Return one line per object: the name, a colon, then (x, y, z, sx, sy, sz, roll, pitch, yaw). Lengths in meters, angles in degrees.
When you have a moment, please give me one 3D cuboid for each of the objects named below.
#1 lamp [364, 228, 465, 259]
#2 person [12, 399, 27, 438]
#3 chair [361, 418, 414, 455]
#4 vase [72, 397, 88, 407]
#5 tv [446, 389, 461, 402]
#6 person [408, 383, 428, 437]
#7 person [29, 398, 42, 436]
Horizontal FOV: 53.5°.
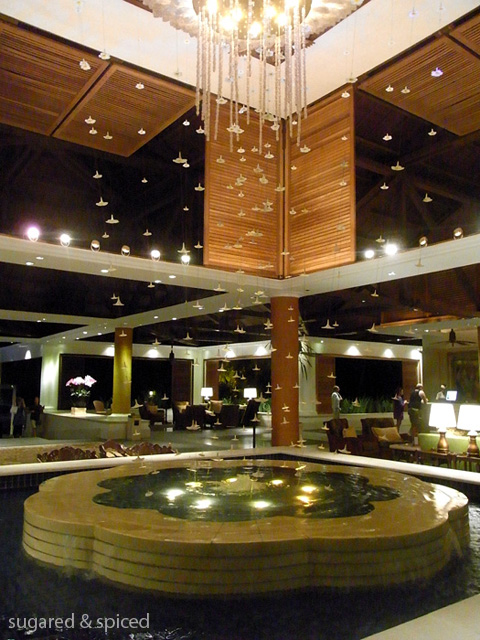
lamp: (2.375, -0.999, 6.572, 0.302, 0.243, 1.766, -26, 9, -22)
person: (-7.016, 3.114, 15.050, 0.336, 1.316, 2.545, 4, -9, -24)
chair: (2.952, 2.418, 9.996, 0.826, 0.926, 0.883, 4, -15, -17)
vase: (-5.198, 2.676, 15.499, 0.407, 0.317, 0.457, -1, -5, 41)
tv: (5.336, 1.915, 11.918, 0.293, 0.286, 0.694, -3, -8, 21)
person: (4.415, 2.299, 11.808, 0.401, 1.356, 0.937, -3, -9, 20)
person: (-6.971, 3.258, 16.190, 0.379, 1.282, 2.652, 4, -9, -22)
